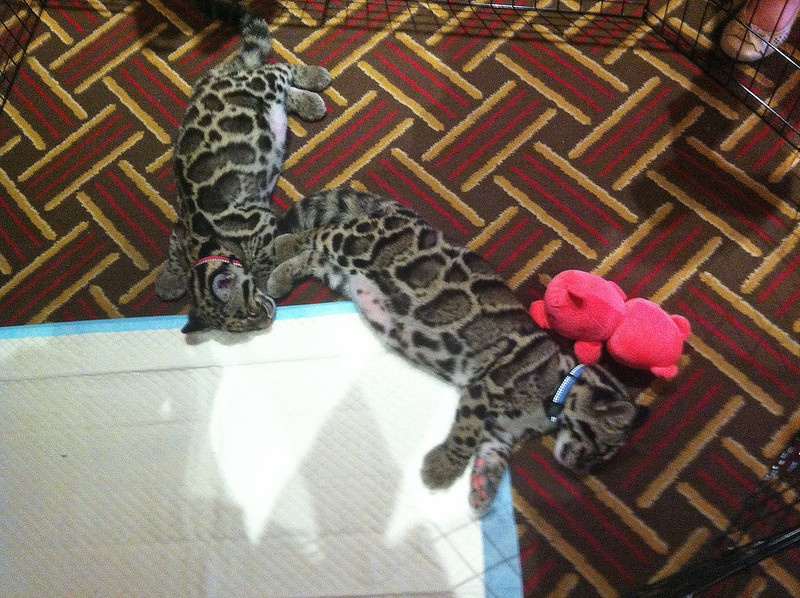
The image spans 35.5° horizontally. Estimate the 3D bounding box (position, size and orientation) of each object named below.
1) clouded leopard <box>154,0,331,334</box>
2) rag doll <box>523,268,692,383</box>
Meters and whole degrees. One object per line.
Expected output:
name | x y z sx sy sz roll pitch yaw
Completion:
clouded leopard | -0.743 -0.561 5.649 0.669 1.411 0.539 2 1 -2
rag doll | 0.922 0.092 5.489 0.693 0.469 0.276 32 -34 10
